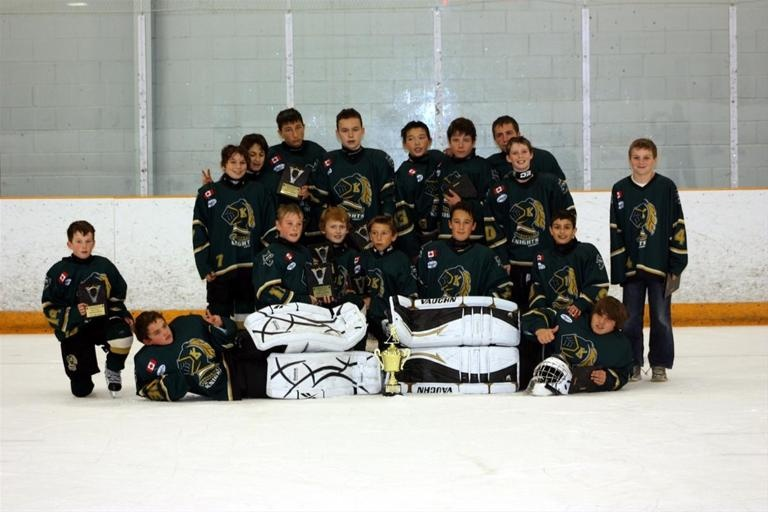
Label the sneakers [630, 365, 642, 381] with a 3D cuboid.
[{"bbox_3d":[2.418,1.130,10.215,0.076,0.138,0.204,-4,-7,32],"label":"sneakers"}]

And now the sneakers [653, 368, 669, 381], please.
[{"bbox_3d":[2.632,1.115,10.179,0.155,0.122,0.253,1,7,14],"label":"sneakers"}]

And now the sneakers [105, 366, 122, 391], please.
[{"bbox_3d":[-2.535,1.159,9.963,0.136,0.257,0.230,-3,7,-17],"label":"sneakers"}]

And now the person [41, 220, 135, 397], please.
[{"bbox_3d":[-2.795,0.478,10.117,0.735,1.582,0.890,-5,8,-31],"label":"person"}]
